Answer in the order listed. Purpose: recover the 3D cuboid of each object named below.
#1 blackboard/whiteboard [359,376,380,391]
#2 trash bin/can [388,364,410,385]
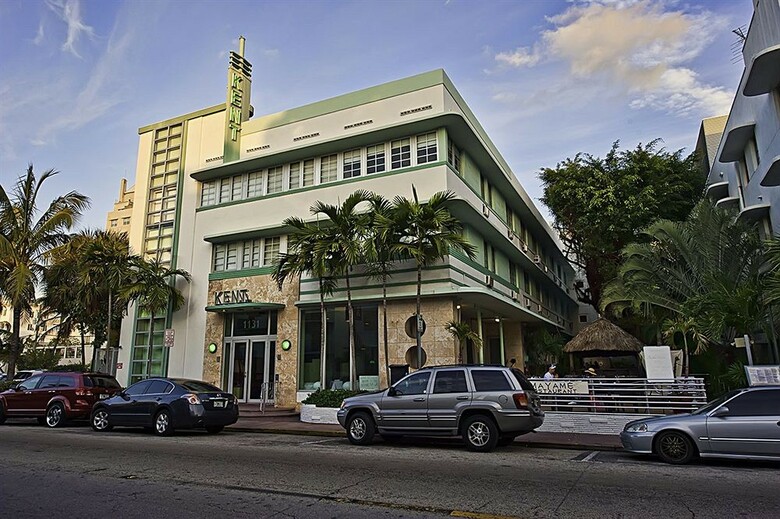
[{"bbox_3d":[-0.952,5.563,20.888,0.922,0.635,0.527,0,-14,8],"label":"blackboard/whiteboard"},{"bbox_3d":[0.304,4.668,19.047,0.938,1.329,0.932,1,-13,-3],"label":"trash bin/can"}]
